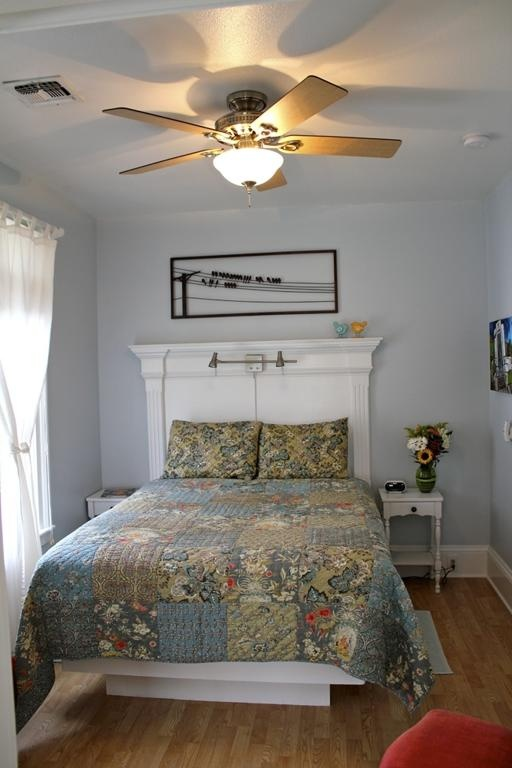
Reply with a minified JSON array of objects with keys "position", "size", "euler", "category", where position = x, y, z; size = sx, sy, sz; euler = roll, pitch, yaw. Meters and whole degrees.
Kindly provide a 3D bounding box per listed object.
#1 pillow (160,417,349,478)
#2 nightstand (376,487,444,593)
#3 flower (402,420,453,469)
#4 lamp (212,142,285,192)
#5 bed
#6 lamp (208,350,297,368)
[{"position":[-0.008,0.414,3.681],"size":[1.147,0.352,0.322],"euler":[-2,2,6],"category":"pillow"},{"position":[0.977,0.967,3.682],"size":[0.381,0.521,0.359],"euler":[0,-7,9],"category":"nightstand"},{"position":[1.057,0.345,3.702],"size":[0.311,0.304,0.288],"euler":[-4,10,0],"category":"flower"},{"position":[-0.029,-0.785,2.085],"size":[0.233,0.138,0.189],"euler":[-2,1,-1],"category":"lamp"},{"position":[-0.107,0.920,2.598],"size":[1.510,0.479,1.055],"euler":[-2,1,3],"category":"bed"},{"position":[-0.001,-0.168,3.931],"size":[0.636,0.146,0.103],"euler":[-1,3,7],"category":"lamp"}]
